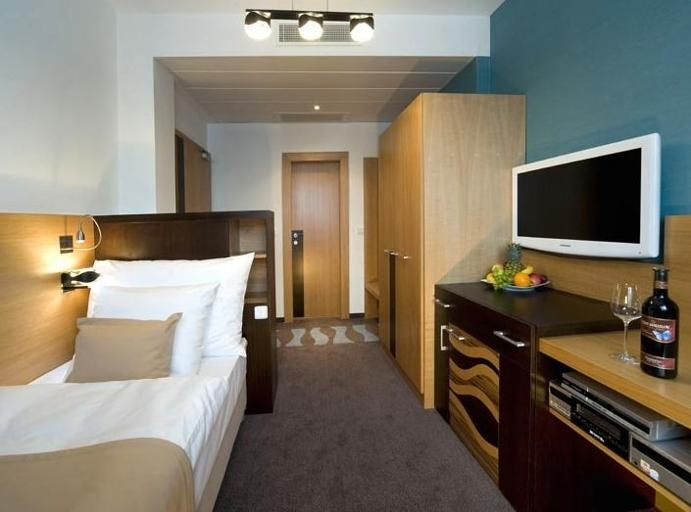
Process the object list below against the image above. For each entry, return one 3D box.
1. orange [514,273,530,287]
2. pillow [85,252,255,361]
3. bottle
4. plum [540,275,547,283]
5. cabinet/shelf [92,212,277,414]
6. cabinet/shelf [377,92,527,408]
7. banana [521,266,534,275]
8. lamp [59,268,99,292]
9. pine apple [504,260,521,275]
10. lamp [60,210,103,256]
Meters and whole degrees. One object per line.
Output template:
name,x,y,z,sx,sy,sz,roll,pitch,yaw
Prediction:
orange,1.176,0.160,3.288,0.083,0.084,0.081,-42,0,10
pillow,-1.110,0.322,3.056,0.641,0.507,0.240,-2,-2,3
bottle,1.443,0.307,2.243,0.158,0.495,0.130,3,5,30
plum,1.348,0.162,3.327,0.014,0.045,0.045,0,-2,-2
cabinet/shelf,-1.089,0.411,3.627,1.137,1.456,0.507,-4,-4,-9
cabinet/shelf,0.764,-0.001,4.595,0.737,2.197,2.200,-1,2,-4
banana,1.260,0.103,3.373,0.040,0.056,0.152,3,14,39
lamp,-1.703,0.157,3.141,0.190,0.134,0.073,-12,39,-29
pine apple,1.145,0.079,3.346,0.128,0.107,0.132,2,4,20
lamp,-1.760,-0.143,3.274,0.074,0.254,0.339,1,4,8
